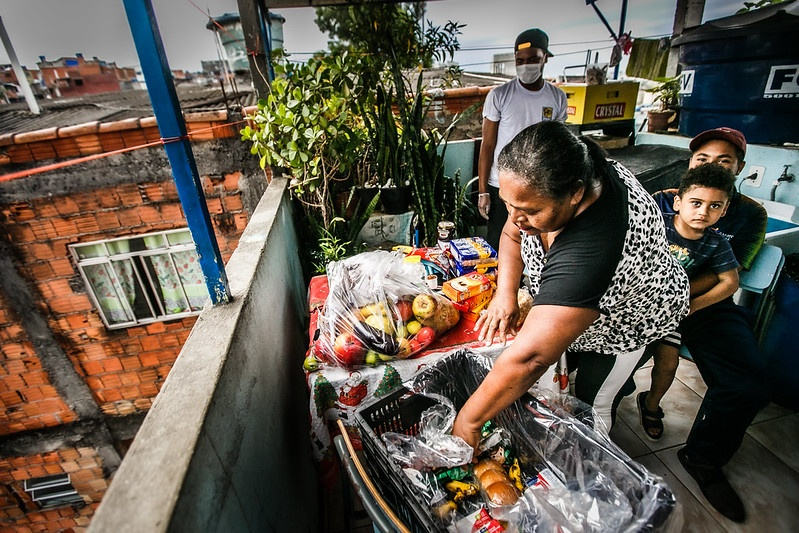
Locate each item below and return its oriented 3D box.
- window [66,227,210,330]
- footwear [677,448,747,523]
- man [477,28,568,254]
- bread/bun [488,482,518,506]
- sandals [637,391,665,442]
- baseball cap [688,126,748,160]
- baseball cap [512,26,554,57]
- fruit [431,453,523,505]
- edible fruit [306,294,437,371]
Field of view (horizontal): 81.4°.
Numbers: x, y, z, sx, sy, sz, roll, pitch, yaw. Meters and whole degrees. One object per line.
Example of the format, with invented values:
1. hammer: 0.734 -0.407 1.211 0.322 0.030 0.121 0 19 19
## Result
1. window: -2.756 0.111 4.765 1.104 0.953 0.080 -11 33 -16
2. footwear: 1.983 1.395 3.026 0.157 0.172 0.461 -28 50 1
3. man: 1.056 -0.712 4.063 0.774 2.437 0.657 1 24 11
4. bread/bun: 0.489 1.108 2.249 0.158 0.079 0.089 -5 22 8
5. sandals: 1.718 1.069 3.316 0.131 0.362 0.145 -5 -18 -1
6. baseball cap: 2.099 -0.790 3.108 0.327 0.175 0.224 19 0 -37
7. baseball cap: 1.035 -1.753 3.669 0.290 0.215 0.245 -2 23 15
8. fruit: 0.406 1.071 2.289 0.263 0.101 0.259 -4 16 -9
9. edible fruit: -0.137 0.376 2.532 0.669 0.371 0.212 -13 -14 -9
